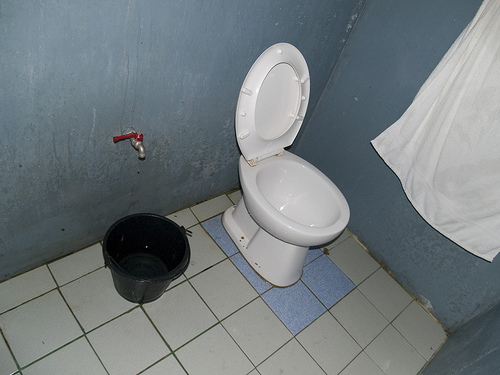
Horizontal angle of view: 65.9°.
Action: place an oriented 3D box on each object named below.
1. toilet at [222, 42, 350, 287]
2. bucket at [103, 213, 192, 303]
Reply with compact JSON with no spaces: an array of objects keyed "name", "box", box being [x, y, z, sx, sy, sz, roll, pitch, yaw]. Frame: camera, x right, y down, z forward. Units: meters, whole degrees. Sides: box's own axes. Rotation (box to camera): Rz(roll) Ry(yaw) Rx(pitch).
[{"name":"toilet","box":[0.189,-0.037,1.790,0.443,1.047,0.630,-16,47,-31]},{"name":"bucket","box":[-0.479,0.294,1.761,0.354,0.330,0.406,4,51,-26]}]
